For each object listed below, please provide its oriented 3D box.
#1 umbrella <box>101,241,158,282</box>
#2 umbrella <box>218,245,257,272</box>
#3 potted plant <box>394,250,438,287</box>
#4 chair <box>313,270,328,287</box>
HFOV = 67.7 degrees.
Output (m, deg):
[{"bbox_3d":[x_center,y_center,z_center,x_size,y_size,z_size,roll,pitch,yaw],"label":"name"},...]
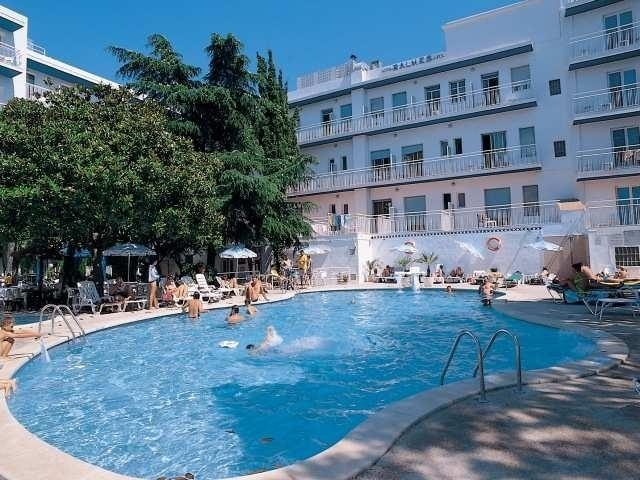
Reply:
[{"bbox_3d":[-8.097,0.452,20.112,1.550,0.819,1.559,7,13,-3],"label":"umbrella"},{"bbox_3d":[-4.136,0.940,24.450,1.267,0.865,1.209,-1,5,-5],"label":"umbrella"},{"bbox_3d":[5.565,1.648,27.969,2.067,1.548,2.121,-1,-2,22],"label":"potted plant"},{"bbox_3d":[-0.012,2.342,29.378,0.805,0.773,0.818,-2,2,-17],"label":"chair"}]
